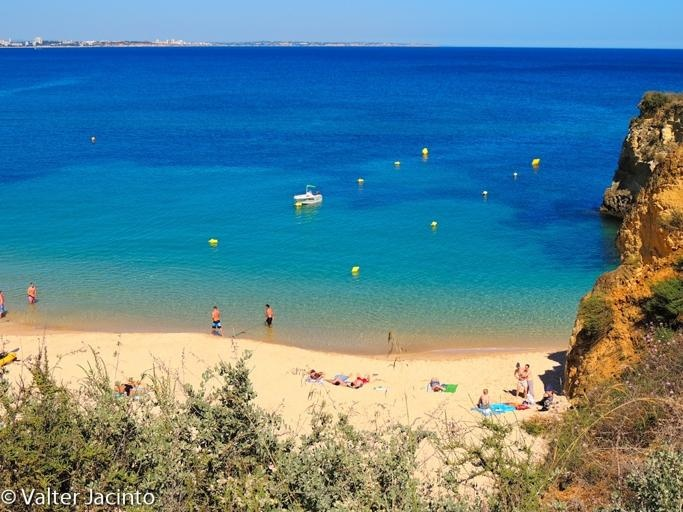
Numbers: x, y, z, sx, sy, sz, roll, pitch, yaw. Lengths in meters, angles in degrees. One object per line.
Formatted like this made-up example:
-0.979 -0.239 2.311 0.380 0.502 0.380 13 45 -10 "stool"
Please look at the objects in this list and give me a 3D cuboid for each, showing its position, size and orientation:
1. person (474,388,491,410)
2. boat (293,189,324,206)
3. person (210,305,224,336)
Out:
5.388 5.432 29.537 0.499 0.792 1.337 1 -2 10 "person"
-2.622 -4.395 58.928 1.816 0.966 1.292 -8 22 -19 "boat"
-6.264 3.217 38.690 0.564 1.407 2.548 1 -2 -10 "person"
